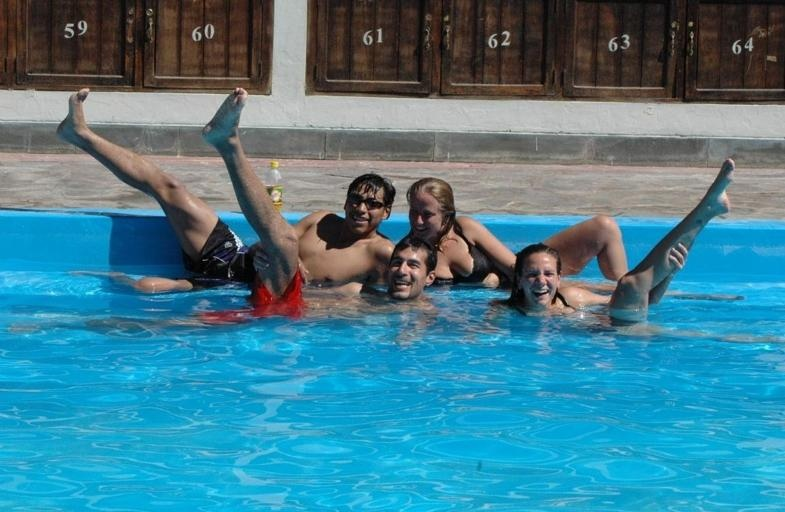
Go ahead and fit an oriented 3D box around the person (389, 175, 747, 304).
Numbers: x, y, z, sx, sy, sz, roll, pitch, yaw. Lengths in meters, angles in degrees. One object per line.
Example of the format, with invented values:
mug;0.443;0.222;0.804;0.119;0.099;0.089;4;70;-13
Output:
person;1.286;-0.103;7.308;2.963;0.741;1.006;-1;-6;-23

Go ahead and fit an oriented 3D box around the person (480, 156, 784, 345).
person;1.456;-0.062;5.976;1.984;0.687;1.536;1;4;21
